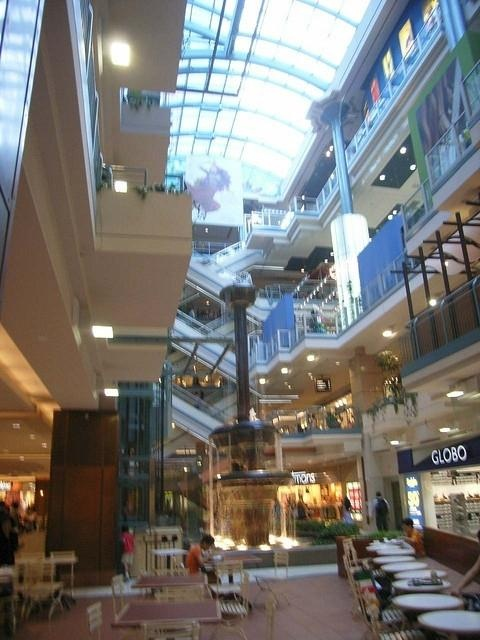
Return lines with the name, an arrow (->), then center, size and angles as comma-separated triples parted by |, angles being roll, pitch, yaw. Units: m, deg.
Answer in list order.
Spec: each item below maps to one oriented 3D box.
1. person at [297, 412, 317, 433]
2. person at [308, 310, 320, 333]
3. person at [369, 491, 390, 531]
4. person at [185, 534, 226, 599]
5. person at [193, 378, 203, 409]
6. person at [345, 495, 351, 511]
person -> 3.107, 4.763, 19.194 | 0.682, 0.964, 1.480 | -4, 0, 3
person -> 3.576, 0.101, 19.996 | 0.378, 1.728, 0.343 | 7, -18, -17
person -> 5.044, 6.796, 14.814 | 0.508, 1.324, 2.617 | -8, -20, 14
person -> -0.616, 4.022, 6.859 | 0.393, 0.905, 0.343 | -3, -4, -8
person -> -1.562, 2.713, 15.400 | 0.396, 1.240, 0.687 | -1, -17, -7
person -> 3.543, 6.053, 13.611 | 0.190, 0.454, 0.892 | -7, -20, 11
